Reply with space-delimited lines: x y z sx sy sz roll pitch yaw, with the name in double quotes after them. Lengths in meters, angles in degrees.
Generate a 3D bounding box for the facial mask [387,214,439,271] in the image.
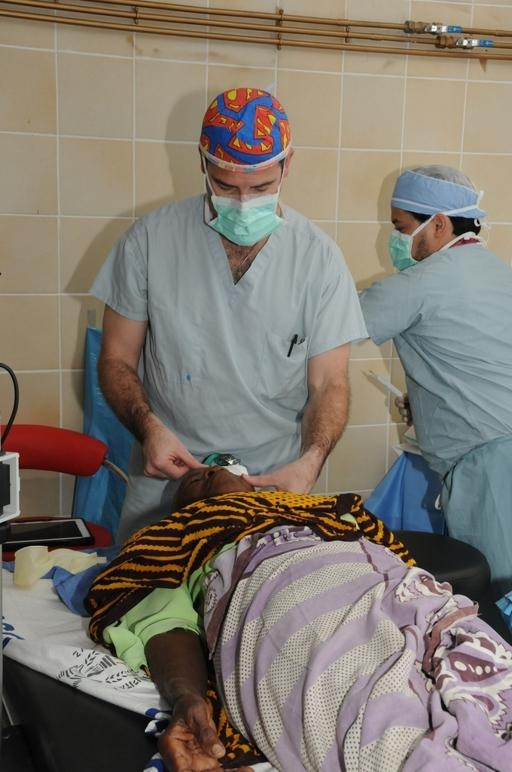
0.498 -0.463 2.224 0.160 0.105 0.139 -24 15 15 "facial mask"

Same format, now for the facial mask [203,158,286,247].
-0.034 -0.401 1.497 0.181 0.174 0.104 4 20 -2 "facial mask"

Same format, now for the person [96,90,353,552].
-0.100 -0.091 1.783 0.592 1.284 0.411 0 11 -8 "person"
